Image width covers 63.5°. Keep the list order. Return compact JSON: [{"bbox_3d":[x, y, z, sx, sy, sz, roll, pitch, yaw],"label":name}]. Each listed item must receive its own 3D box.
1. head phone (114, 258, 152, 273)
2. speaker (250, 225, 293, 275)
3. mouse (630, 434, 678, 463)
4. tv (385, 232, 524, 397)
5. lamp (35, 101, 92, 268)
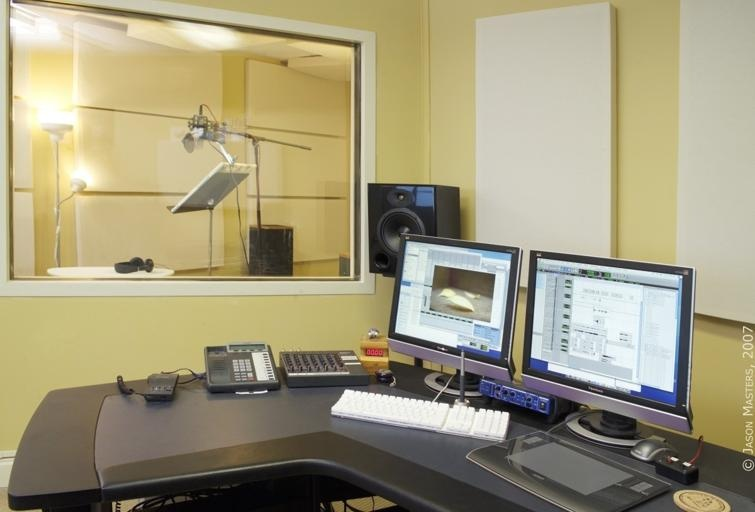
[{"bbox_3d":[-1.427,0.063,3.589,0.168,0.058,0.095,-4,5,-38],"label":"head phone"},{"bbox_3d":[-0.639,-0.034,3.857,0.295,0.414,0.292,0,1,-9],"label":"speaker"},{"bbox_3d":[0.993,0.699,2.209,0.131,0.044,0.073,-8,9,-30],"label":"mouse"},{"bbox_3d":[0.327,0.263,2.644,0.765,0.808,0.406,3,6,41],"label":"tv"},{"bbox_3d":[-1.789,-0.383,3.502,0.220,0.899,0.083,-4,8,-23],"label":"lamp"}]
